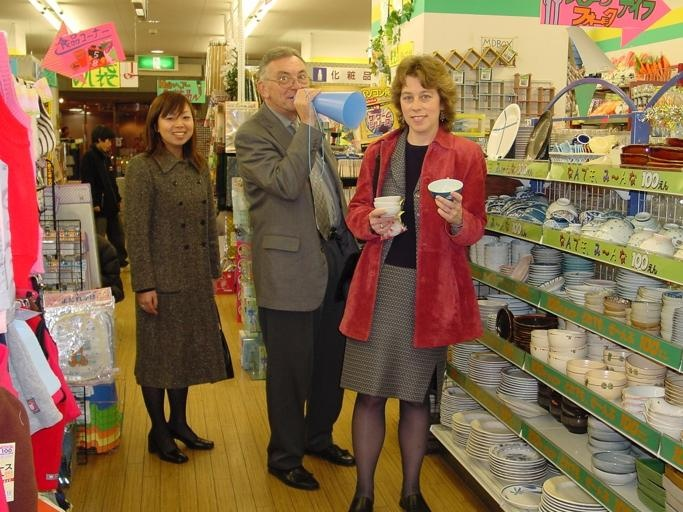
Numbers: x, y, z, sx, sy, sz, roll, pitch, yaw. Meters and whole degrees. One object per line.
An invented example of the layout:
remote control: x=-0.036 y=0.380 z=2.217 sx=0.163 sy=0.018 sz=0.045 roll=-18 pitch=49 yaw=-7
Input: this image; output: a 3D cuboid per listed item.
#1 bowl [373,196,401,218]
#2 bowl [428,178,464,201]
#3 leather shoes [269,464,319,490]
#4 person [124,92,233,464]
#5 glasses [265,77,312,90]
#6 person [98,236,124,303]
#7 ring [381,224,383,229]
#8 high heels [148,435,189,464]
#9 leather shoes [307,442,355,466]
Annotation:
bowl: x=0.199 y=-0.218 z=2.199 sx=0.090 sy=0.070 sz=0.094 roll=0 pitch=3 yaw=0
bowl: x=0.435 y=-0.289 z=2.129 sx=0.130 sy=0.088 sz=0.083 roll=-2 pitch=8 yaw=-16
leather shoes: x=-0.280 y=1.249 z=2.917 sx=0.274 sy=0.115 sz=0.122 roll=11 pitch=12 yaw=22
person: x=-1.012 y=-0.101 z=3.087 sx=0.596 sy=1.823 sz=0.319 roll=-3 pitch=7 yaw=-25
glasses: x=-0.297 y=-0.932 z=2.679 sx=0.229 sy=0.058 sz=0.106 roll=0 pitch=8 yaw=-4
person: x=-2.926 y=0.217 z=6.324 sx=0.268 sy=0.939 sz=1.172 roll=-3 pitch=8 yaw=-25
ring: x=0.175 y=-0.135 z=2.207 sx=0.017 sy=0.017 sz=0.004 roll=6 pitch=6 yaw=23
high heels: x=-1.112 y=1.228 z=3.173 sx=0.267 sy=0.111 sz=0.090 roll=20 pitch=7 yaw=22
leather shoes: x=-0.069 y=1.251 z=3.156 sx=0.250 sy=0.104 sz=0.127 roll=5 pitch=12 yaw=10
